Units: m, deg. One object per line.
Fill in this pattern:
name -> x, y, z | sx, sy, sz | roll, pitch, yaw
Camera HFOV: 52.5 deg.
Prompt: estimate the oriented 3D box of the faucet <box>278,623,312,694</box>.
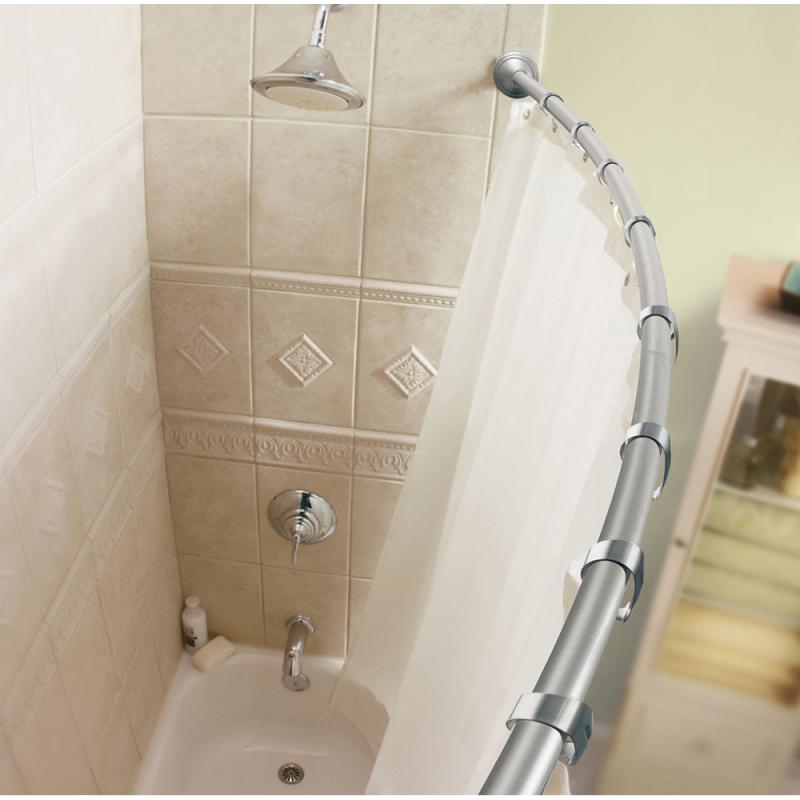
faucet -> -0.258, 0.643, 2.027 | 0.060, 0.185, 0.082 | 1, -70, -1
